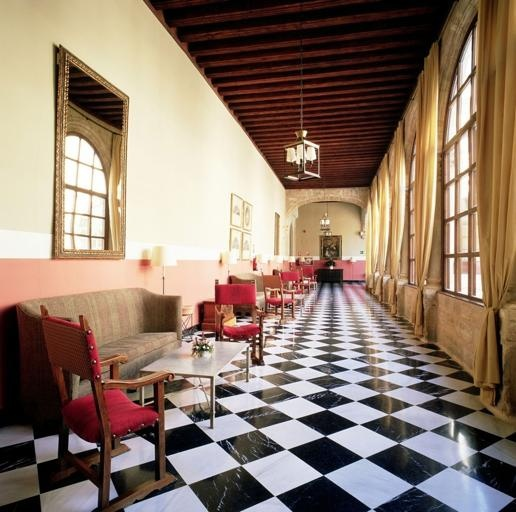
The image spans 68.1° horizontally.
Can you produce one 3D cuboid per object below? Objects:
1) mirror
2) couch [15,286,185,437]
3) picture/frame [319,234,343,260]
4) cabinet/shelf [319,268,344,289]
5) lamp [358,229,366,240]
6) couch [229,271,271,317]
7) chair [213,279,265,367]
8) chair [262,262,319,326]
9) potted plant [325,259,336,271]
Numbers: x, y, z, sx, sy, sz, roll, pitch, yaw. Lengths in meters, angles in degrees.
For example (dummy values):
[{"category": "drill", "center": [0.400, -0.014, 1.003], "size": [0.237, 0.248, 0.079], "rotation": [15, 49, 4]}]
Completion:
[{"category": "mirror", "center": [-1.774, -1.004, 4.133], "size": [0.076, 2.054, 1.084], "rotation": [1, 2, 16]}, {"category": "couch", "center": [-1.485, 0.835, 4.004], "size": [0.546, 0.951, 2.036], "rotation": [-3, -1, 12]}, {"category": "picture/frame", "center": [4.188, -0.529, 21.595], "size": [1.176, 1.550, 0.145], "rotation": [0, -3, 16]}, {"category": "cabinet/shelf", "center": [3.912, 1.045, 20.762], "size": [1.384, 0.751, 1.795], "rotation": [1, 2, 12]}, {"category": "lamp", "center": [5.783, -1.214, 21.234], "size": [0.104, 0.431, 0.409], "rotation": [2, 2, -32]}, {"category": "couch", "center": [-0.118, 0.885, 9.134], "size": [0.595, 0.969, 1.289], "rotation": [0, 2, 23]}, {"category": "chair", "center": [-0.252, 0.829, 4.777], "size": [0.589, 1.066, 0.604], "rotation": [-1, -5, -25]}, {"category": "chair", "center": [0.634, 0.870, 9.091], "size": [0.625, 1.026, 2.544], "rotation": [1, 2, 13]}, {"category": "potted plant", "center": [4.066, 0.509, 21.498], "size": [0.686, 0.997, 0.488], "rotation": [2, -9, 5]}]
